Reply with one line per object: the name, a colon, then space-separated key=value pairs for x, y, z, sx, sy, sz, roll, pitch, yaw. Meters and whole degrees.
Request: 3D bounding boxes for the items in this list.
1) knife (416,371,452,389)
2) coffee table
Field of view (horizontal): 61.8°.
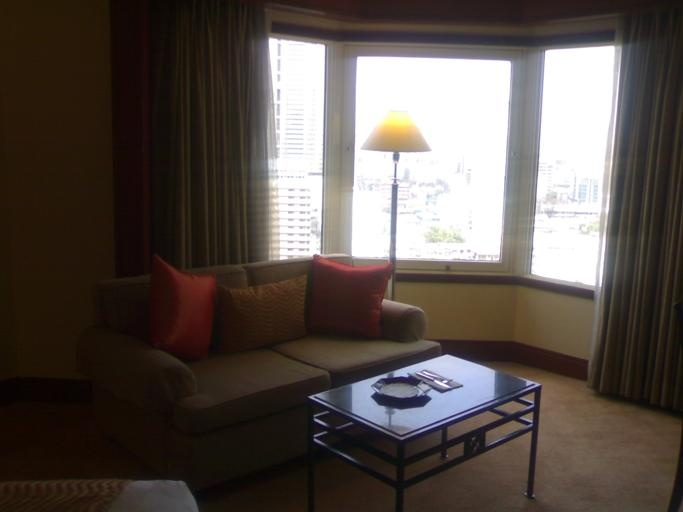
knife: x=0.499 y=0.654 z=3.019 sx=0.073 sy=0.020 sz=0.131 roll=-5 pitch=12 yaw=-36
coffee table: x=0.410 y=0.949 z=3.041 sx=1.256 sy=0.645 sz=0.829 roll=-5 pitch=13 yaw=-32
